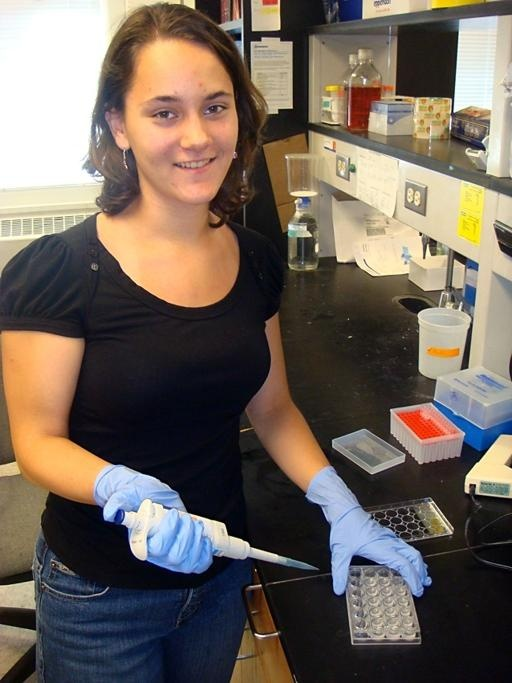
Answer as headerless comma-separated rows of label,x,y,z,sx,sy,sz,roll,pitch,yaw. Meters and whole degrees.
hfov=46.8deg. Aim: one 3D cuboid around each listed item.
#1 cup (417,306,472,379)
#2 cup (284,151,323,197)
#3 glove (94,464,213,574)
cup,0.452,-0.014,1.540,0.174,0.184,0.173,0,23,0
cup,0.201,-0.721,2.512,0.202,0.208,0.202,-3,13,1
glove,-0.141,0.233,0.734,0.171,0.066,0.106,31,29,-34
